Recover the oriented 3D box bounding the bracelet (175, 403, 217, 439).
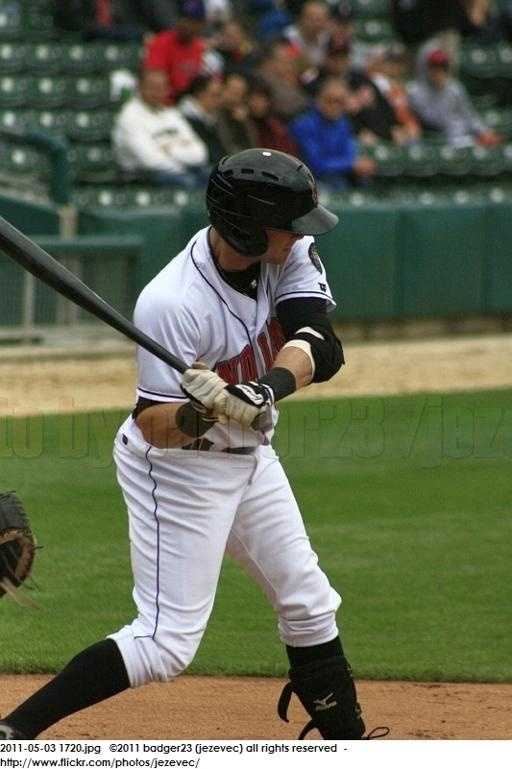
[{"bbox_3d":[-0.133,0.079,2.375,0.025,0.061,0.092,0,-21,44],"label":"bracelet"}]

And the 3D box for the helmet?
[{"bbox_3d":[0.047,-0.427,2.578,0.319,0.222,0.218,17,35,19],"label":"helmet"}]

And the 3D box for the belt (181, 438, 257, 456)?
[{"bbox_3d":[-0.079,0.147,2.518,0.110,0.022,0.057,7,-4,-12],"label":"belt"}]

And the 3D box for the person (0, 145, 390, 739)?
[{"bbox_3d":[-0.148,0.161,2.578,0.764,1.391,0.608,-3,14,-9],"label":"person"}]

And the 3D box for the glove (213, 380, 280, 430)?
[{"bbox_3d":[-0.022,0.029,2.367,0.122,0.038,0.115,-3,48,-31],"label":"glove"}]
